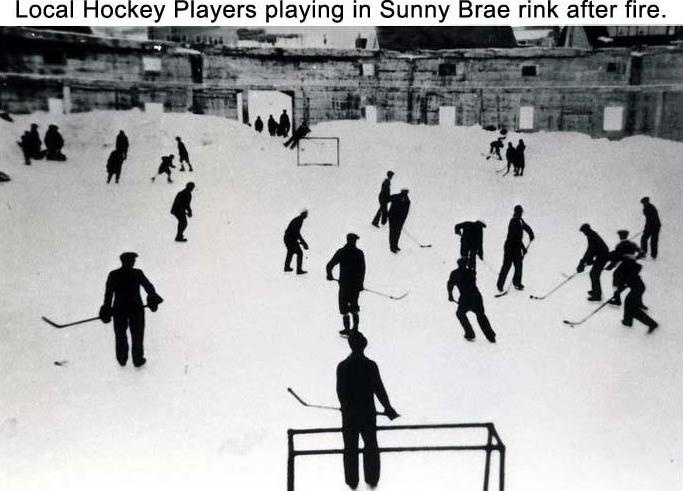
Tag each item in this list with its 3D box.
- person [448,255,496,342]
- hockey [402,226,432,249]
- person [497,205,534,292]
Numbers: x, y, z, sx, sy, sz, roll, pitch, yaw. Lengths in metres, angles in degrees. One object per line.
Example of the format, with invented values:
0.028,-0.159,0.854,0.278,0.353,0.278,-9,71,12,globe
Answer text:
2.715,1.054,25.686,0.799,1.848,0.993,8,15,10,person
1.675,-0.100,27.455,0.790,0.270,0.065,45,6,24,hockey
3.742,0.116,26.552,0.546,1.869,0.812,4,-3,-13,person
